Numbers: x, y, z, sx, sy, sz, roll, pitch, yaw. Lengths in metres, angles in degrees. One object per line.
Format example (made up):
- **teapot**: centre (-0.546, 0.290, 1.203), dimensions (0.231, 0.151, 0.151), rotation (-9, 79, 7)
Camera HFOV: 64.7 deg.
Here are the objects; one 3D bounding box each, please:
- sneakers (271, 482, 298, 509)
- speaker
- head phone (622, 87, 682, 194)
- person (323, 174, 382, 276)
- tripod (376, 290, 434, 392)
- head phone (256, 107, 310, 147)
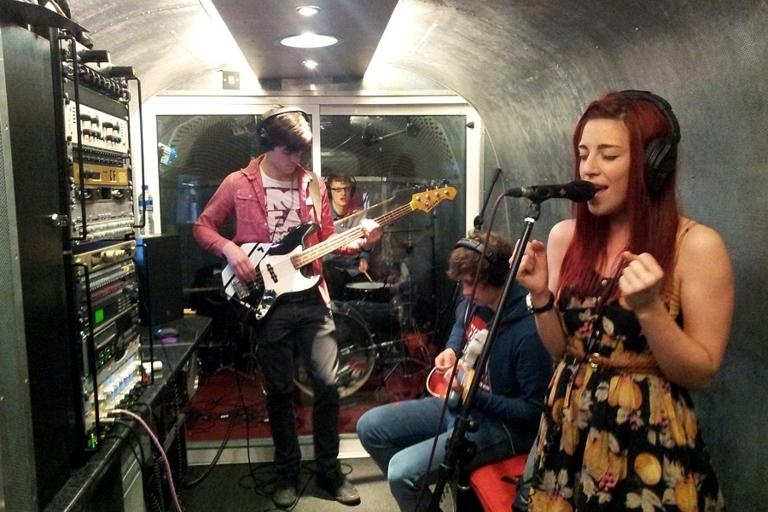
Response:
- **sneakers**: centre (-0.573, 1.439, 3.648), dimensions (0.186, 0.101, 0.171), rotation (-3, 8, -30)
- **speaker**: centre (-1.365, 0.153, 3.708), dimensions (0.253, 0.553, 0.128), rotation (-2, 8, -25)
- **head phone**: centre (0.854, -0.383, 2.024), dimensions (0.105, 0.290, 0.261), rotation (-25, 5, 19)
- **person**: centre (-0.243, -0.235, 4.218), dimensions (0.339, 0.712, 0.100), rotation (-1, 5, -2)
- **tripod**: centre (0.141, 0.633, 4.544), dimensions (0.637, 0.645, 0.141), rotation (-20, -9, 18)
- **head phone**: centre (-0.627, -0.814, 3.856), dimensions (0.258, 0.239, 0.291), rotation (-12, 16, -43)
